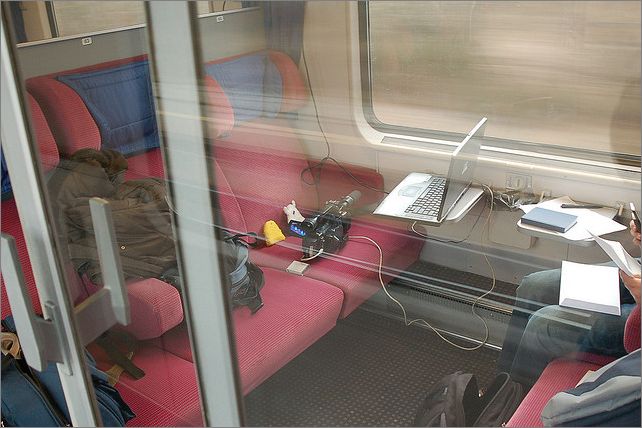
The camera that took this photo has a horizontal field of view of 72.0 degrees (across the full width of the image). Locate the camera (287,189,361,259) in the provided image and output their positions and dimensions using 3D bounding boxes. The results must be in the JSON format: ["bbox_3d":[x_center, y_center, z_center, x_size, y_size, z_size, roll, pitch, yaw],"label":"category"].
[{"bbox_3d":[-0.010,0.026,0.664,0.082,0.049,0.110,15,12,23],"label":"camera"}]

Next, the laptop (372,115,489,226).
[{"bbox_3d":[0.145,-0.043,0.613,0.116,0.113,0.141,19,44,32],"label":"laptop"}]
